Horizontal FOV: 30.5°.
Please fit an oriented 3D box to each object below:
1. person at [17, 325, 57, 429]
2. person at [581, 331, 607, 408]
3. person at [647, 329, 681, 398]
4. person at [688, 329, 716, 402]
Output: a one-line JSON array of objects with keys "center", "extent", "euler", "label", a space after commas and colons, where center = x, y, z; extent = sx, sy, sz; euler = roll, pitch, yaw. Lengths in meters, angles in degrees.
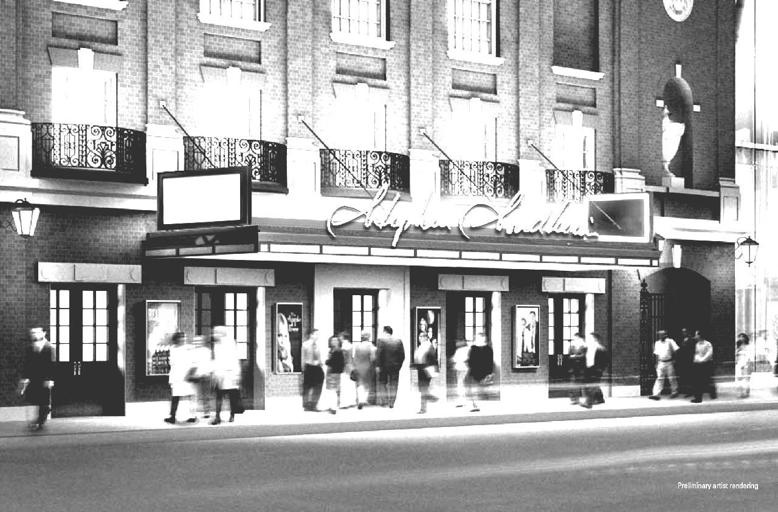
[{"center": [-9.025, 3.163, 36.537], "extent": [0.868, 2.590, 0.689], "euler": [5, 4, 10], "label": "person"}, {"center": [5.991, 3.289, 41.234], "extent": [0.638, 2.154, 0.762], "euler": [0, -3, 6], "label": "person"}, {"center": [8.458, 3.299, 43.507], "extent": [0.810, 2.297, 0.859], "euler": [1, -2, 21], "label": "person"}, {"center": [9.525, 3.281, 42.888], "extent": [0.725, 2.203, 0.655], "euler": [0, 2, 13], "label": "person"}]
